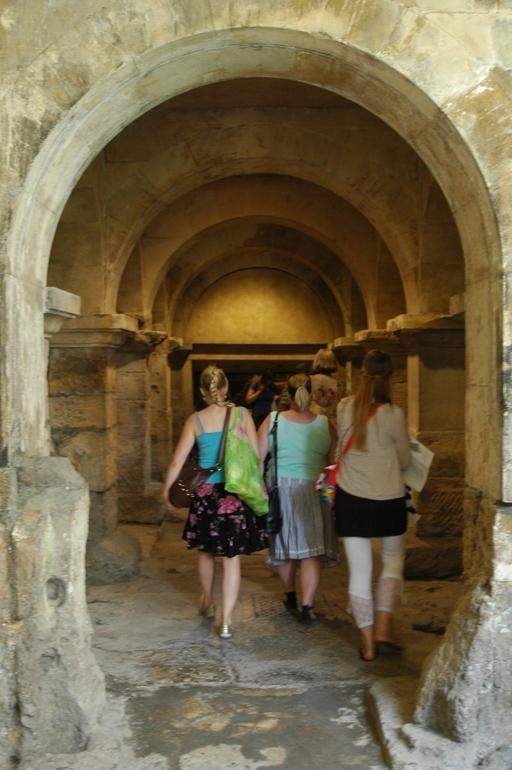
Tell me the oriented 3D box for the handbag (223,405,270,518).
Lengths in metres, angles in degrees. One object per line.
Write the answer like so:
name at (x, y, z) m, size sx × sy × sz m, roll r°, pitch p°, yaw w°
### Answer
handbag at (-0.040, 0.356, 3.441) m, size 0.237 × 0.506 × 0.154 m, roll 2°, pitch -3°, yaw -18°

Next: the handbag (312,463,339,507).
handbag at (0.301, 0.416, 3.159) m, size 0.116 × 0.148 × 0.161 m, roll 2°, pitch -1°, yaw 7°

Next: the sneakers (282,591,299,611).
sneakers at (0.189, 1.101, 3.853) m, size 0.045 × 0.045 × 0.123 m, roll 1°, pitch 5°, yaw 1°

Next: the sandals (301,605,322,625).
sandals at (0.260, 1.099, 3.628) m, size 0.054 × 0.051 × 0.140 m, roll 0°, pitch 3°, yaw 13°

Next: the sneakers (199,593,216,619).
sneakers at (-0.239, 1.111, 3.779) m, size 0.055 × 0.056 × 0.142 m, roll 1°, pitch 3°, yaw -6°

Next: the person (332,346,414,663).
person at (0.482, 0.492, 3.155) m, size 0.312 × 1.277 × 0.218 m, roll 1°, pitch -3°, yaw 6°

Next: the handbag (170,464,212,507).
handbag at (-0.298, 0.449, 3.424) m, size 0.175 × 0.112 × 0.072 m, roll -42°, pitch -33°, yaw 17°

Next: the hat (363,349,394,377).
hat at (0.521, -0.088, 3.221) m, size 0.101 × 0.108 × 0.124 m, roll 2°, pitch 9°, yaw 6°
